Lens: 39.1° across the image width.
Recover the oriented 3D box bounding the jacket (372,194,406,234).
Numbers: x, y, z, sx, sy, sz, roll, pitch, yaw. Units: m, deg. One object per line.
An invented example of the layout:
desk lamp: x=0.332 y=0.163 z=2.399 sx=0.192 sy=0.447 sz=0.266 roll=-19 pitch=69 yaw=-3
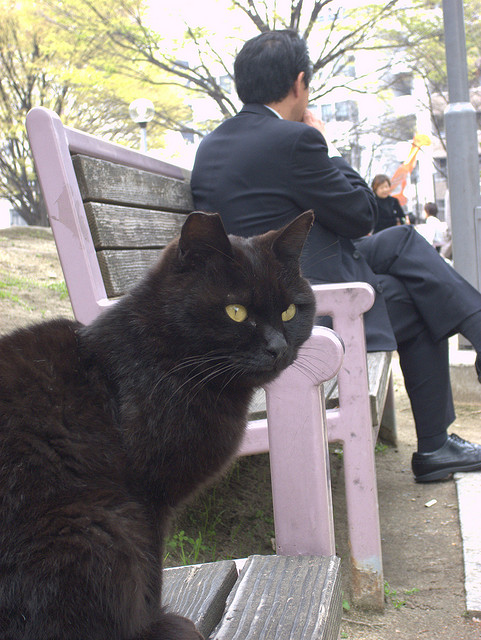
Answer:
jacket: x=1.716 y=-1.211 z=7.792 sx=0.308 sy=0.604 sz=0.177 roll=2 pitch=50 yaw=20

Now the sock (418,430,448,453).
sock: x=0.774 y=0.498 z=2.737 sx=0.110 sy=0.106 sz=0.055 roll=1 pitch=12 yaw=15
